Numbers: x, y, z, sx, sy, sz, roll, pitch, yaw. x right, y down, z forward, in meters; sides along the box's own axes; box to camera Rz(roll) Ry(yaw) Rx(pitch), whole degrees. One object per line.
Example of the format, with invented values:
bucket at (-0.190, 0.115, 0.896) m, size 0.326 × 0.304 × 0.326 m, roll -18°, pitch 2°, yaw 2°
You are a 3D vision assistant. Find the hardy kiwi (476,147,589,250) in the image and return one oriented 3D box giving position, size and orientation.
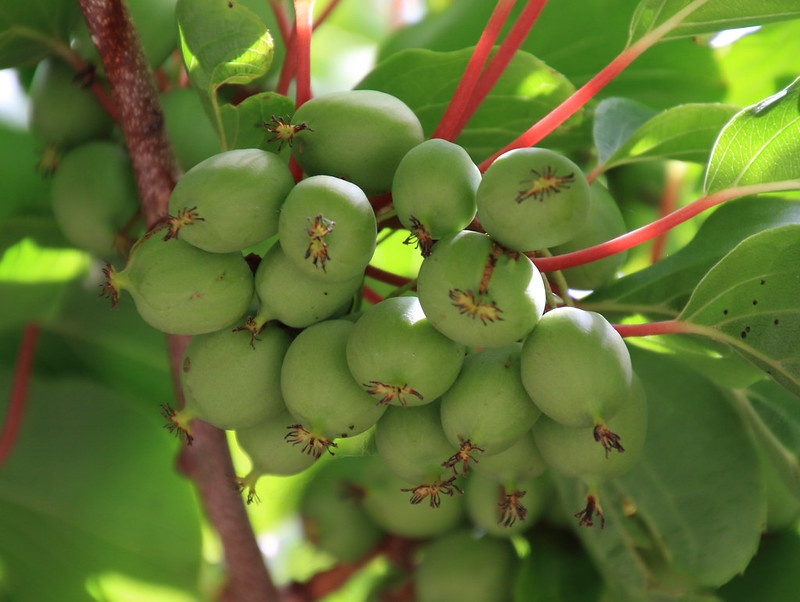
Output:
hardy kiwi at (0.189, -0.141, 1.301) m, size 0.159 × 0.138 × 0.104 m, roll 23°, pitch 37°, yaw 1°

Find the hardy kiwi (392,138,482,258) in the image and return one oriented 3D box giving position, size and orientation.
hardy kiwi at (0.060, -0.165, 1.368) m, size 0.148 × 0.175 × 0.156 m, roll 2°, pitch -4°, yaw 23°

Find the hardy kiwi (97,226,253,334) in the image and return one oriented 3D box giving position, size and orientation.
hardy kiwi at (-0.329, -0.024, 1.345) m, size 0.191 × 0.136 × 0.109 m, roll -2°, pitch -6°, yaw 4°

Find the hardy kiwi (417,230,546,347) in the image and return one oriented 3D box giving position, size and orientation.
hardy kiwi at (0.105, -0.014, 1.365) m, size 0.159 × 0.163 × 0.123 m, roll 29°, pitch -3°, yaw -5°

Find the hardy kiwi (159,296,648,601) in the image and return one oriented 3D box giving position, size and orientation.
hardy kiwi at (0.042, 0.161, 1.370) m, size 0.669 × 0.398 × 0.201 m, roll 17°, pitch 38°, yaw -7°

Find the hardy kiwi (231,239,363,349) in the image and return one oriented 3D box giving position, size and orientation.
hardy kiwi at (-0.144, -0.045, 1.392) m, size 0.205 × 0.107 × 0.127 m, roll 12°, pitch 1°, yaw -16°

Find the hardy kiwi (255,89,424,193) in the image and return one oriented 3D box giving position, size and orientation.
hardy kiwi at (-0.094, -0.243, 1.443) m, size 0.209 × 0.154 × 0.127 m, roll 1°, pitch 57°, yaw 9°

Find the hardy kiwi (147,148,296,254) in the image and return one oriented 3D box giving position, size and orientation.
hardy kiwi at (-0.250, -0.151, 1.345) m, size 0.166 × 0.122 × 0.112 m, roll 15°, pitch 38°, yaw -9°
